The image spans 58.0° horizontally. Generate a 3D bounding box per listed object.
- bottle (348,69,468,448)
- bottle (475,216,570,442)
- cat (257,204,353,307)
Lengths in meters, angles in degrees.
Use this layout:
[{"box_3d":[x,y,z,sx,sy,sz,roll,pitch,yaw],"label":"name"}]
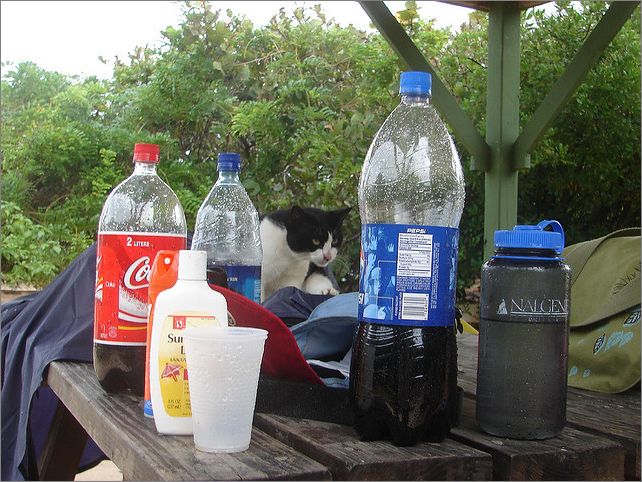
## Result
[{"box_3d":[0.168,0.009,1.071,0.209,0.617,0.330,2,7,5],"label":"bottle"},{"box_3d":[0.378,0.152,1.035,0.212,0.368,0.142,-3,8,-29],"label":"bottle"},{"box_3d":[-0.022,0.037,2.611,0.287,0.349,0.505,7,-7,-31],"label":"cat"}]
